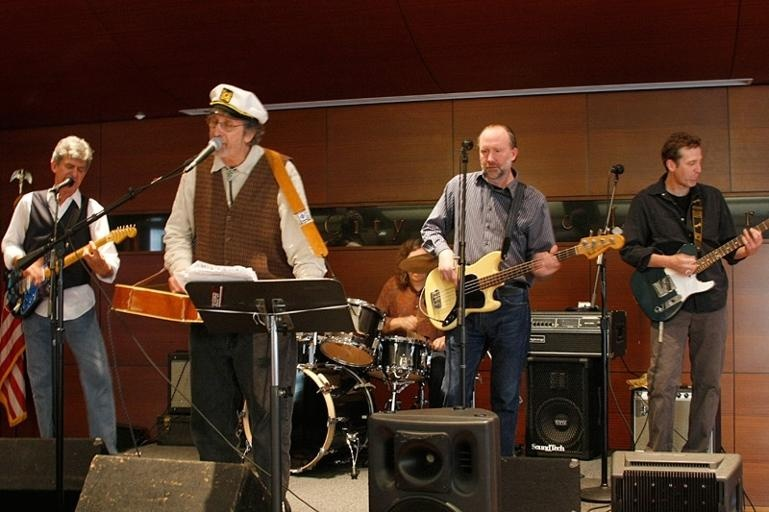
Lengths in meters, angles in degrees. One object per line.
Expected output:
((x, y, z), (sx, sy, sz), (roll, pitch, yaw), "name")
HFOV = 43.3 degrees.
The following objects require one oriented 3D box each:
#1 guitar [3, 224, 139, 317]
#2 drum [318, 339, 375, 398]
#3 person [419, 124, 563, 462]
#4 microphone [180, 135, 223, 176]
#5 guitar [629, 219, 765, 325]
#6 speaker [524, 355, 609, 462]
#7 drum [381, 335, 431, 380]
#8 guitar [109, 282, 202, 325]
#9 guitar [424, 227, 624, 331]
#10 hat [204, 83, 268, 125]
((-2.545, 0.139, 7.389), (1.048, 0.702, 0.631), (-1, -1, 14), "guitar")
((-0.282, 0.903, 8.078), (0.465, 0.453, 0.464), (-2, 7, 14), "drum")
((0.785, 0.227, 7.030), (0.979, 2.348, 0.607), (-1, -2, 9), "person")
((-1.153, -0.638, 6.190), (0.257, 0.229, 0.158), (0, -1, -11), "microphone")
((2.512, 0.132, 7.750), (0.917, 0.320, 0.129), (-31, -15, 12), "guitar")
((1.619, 1.326, 8.542), (0.636, 0.838, 0.541), (-1, -2, 30), "speaker")
((0.160, 0.854, 8.107), (0.374, 0.258, 0.376), (2, -6, 0), "drum")
((-1.464, 0.324, 6.384), (0.503, 0.170, 0.842), (11, -5, -36), "guitar")
((0.826, 0.235, 7.239), (1.893, 0.605, 0.225), (-19, -16, 22), "guitar")
((-0.934, -0.927, 6.280), (0.259, 0.121, 0.295), (24, 3, 34), "hat")
